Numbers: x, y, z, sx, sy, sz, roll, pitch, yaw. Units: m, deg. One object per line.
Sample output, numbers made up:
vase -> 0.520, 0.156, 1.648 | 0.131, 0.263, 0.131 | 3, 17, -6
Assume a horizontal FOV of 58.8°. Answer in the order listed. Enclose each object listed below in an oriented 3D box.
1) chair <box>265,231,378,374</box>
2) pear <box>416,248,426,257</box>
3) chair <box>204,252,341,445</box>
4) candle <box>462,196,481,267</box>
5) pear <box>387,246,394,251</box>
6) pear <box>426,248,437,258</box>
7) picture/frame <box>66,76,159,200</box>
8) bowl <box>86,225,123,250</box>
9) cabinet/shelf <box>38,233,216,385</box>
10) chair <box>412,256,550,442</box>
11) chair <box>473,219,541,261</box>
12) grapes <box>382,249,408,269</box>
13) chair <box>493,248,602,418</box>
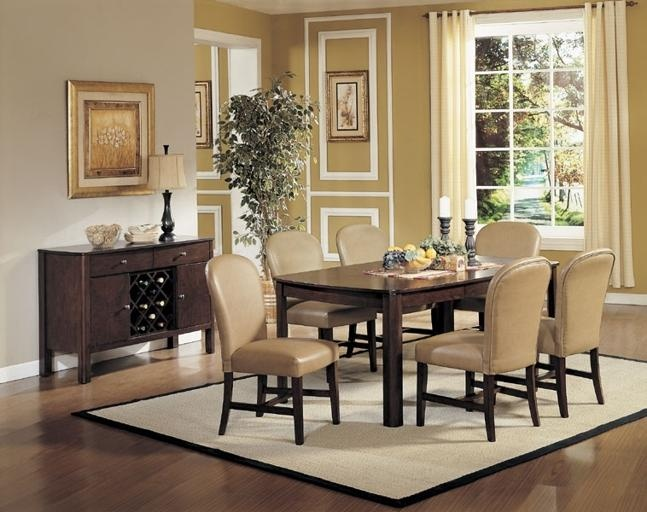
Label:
chair -> -0.028, 0.345, 4.352 | 0.668, 1.074, 0.601 | 2, 10, 45
pear -> 0.664, -0.026, 3.903 | 0.050, 0.061, 0.051 | -3, -5, 20
chair -> -0.290, 0.495, 3.296 | 0.682, 1.007, 0.628 | 1, 2, 34
candle -> 1.075, -0.175, 4.204 | 0.181, 0.484, 0.187 | 1, 3, 38
pear -> 0.477, -0.055, 4.032 | 0.042, 0.028, 0.070 | -7, 1, 12
pear -> 0.735, -0.020, 3.927 | 0.059, 0.072, 0.060 | 0, -7, 8
picture/frame -> -1.801, -0.981, 4.793 | 0.082, 1.227, 1.072 | 4, 6, 43
bowl -> -1.694, -0.139, 4.430 | 0.201, 0.121, 0.207 | -2, 1, 0
cabinet/shelf -> -1.591, 0.376, 4.811 | 0.465, 0.950, 1.380 | 3, 5, 29
chair -> 0.931, 0.493, 3.308 | 0.566, 0.996, 0.632 | -3, 4, -38
chair -> 1.600, -0.133, 4.974 | 0.371, 0.535, 0.439 | 2, 3, 31
grapes -> 0.483, 0.027, 3.911 | 0.106, 0.083, 0.145 | -2, 3, 20
chair -> 1.461, 0.432, 3.622 | 0.588, 1.002, 0.626 | -2, 3, -42
